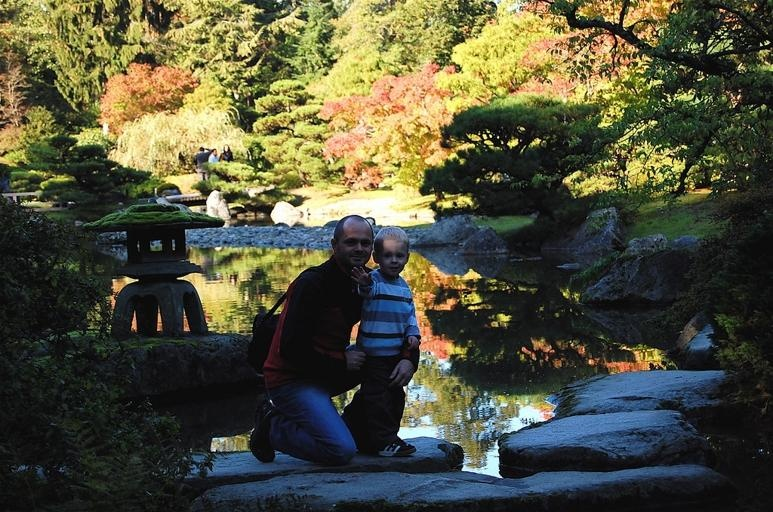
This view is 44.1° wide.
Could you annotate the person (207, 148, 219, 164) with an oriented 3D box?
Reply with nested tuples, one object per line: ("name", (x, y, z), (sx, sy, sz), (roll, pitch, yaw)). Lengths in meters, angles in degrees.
("person", (-6.093, -3.563, 33.620), (0.404, 0.447, 0.731), (-3, -1, -11))

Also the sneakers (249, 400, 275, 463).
("sneakers", (-1.129, 1.639, 8.892), (0.268, 0.513, 0.218), (2, -3, 3))

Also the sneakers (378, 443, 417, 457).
("sneakers", (0.112, 1.767, 8.769), (0.348, 0.129, 0.119), (-3, -3, 2))

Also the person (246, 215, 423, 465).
("person", (-0.666, 0.772, 8.768), (1.166, 2.089, 0.425), (-3, -1, -6))
